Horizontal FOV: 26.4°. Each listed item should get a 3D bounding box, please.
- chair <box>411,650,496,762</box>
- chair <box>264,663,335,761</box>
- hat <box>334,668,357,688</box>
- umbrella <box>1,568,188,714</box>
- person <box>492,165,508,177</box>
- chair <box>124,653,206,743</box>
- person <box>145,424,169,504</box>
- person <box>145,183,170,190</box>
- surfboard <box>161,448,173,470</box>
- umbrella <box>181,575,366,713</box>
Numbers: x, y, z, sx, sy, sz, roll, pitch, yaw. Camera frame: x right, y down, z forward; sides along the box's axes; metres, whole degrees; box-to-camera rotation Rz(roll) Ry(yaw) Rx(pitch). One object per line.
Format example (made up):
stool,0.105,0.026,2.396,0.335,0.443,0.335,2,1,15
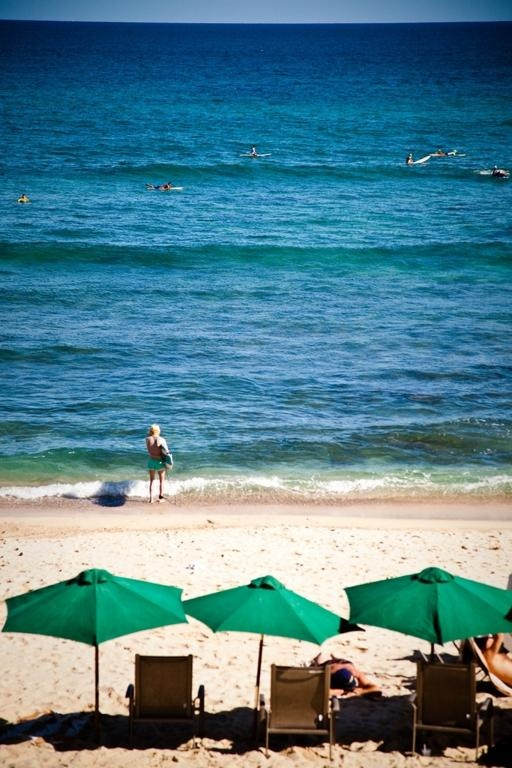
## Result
chair,1.919,3.122,10.751,0.739,0.875,1.085,0,-8,17
chair,0.409,2.988,10.015,0.630,0.703,0.921,2,-2,3
hat,0.910,3.057,11.305,0.221,0.208,0.172,-5,-6,-8
umbrella,-1.499,2.078,10.139,1.517,1.071,1.492,0,11,1
person,11.655,-10.157,52.260,0.617,0.346,0.784,7,10,-3
chair,-0.916,3.144,10.749,0.824,0.898,1.144,2,-18,-8
person,-1.584,1.214,17.117,0.330,1.288,1.283,3,5,-6
person,-4.312,-8.648,47.969,0.844,0.264,0.637,0,3,-5
surfboard,-1.324,1.133,16.674,0.117,0.302,0.192,-22,24,-40
umbrella,0.048,2.459,10.673,1.424,1.146,1.444,3,8,-23
